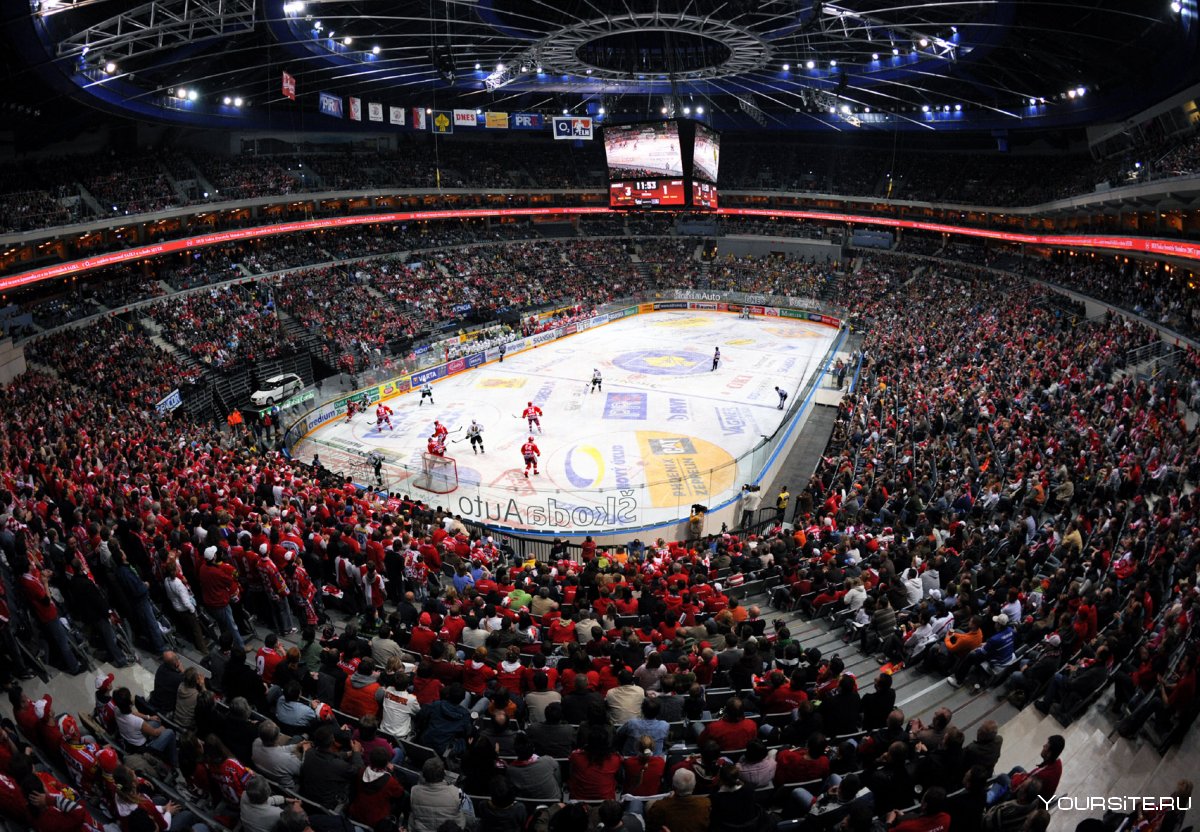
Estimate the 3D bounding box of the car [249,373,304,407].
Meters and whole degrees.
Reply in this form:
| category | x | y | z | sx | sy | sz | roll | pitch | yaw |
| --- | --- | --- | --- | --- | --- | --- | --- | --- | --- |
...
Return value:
| category | x | y | z | sx | sy | sz | roll | pitch | yaw |
| --- | --- | --- | --- | --- | --- | --- | --- | --- | --- |
| car | -18.503 | -1.453 | 41.837 | 1.463 | 1.104 | 2.712 | 10 | 20 | 36 |

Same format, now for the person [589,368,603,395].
| category | x | y | z | sx | sy | sz | roll | pitch | yaw |
| --- | --- | --- | --- | --- | --- | --- | --- | --- | --- |
| person | -0.237 | -2.226 | 46.853 | 0.763 | 1.468 | 2.032 | 2 | 2 | 0 |
